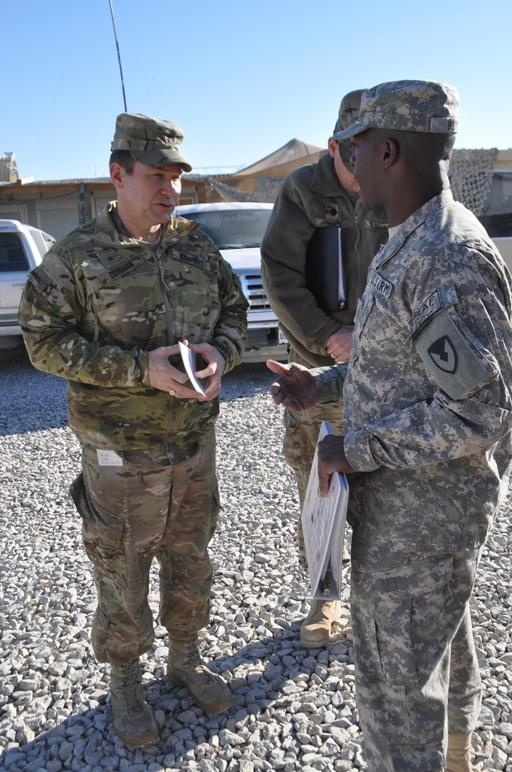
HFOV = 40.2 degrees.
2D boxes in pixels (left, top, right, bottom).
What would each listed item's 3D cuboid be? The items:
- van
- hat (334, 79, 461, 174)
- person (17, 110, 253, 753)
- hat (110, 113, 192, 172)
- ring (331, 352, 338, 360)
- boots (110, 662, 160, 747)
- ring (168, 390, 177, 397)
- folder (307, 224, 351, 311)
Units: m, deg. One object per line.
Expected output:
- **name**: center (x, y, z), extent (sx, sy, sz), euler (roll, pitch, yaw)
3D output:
- **van**: center (-0.122, -1.122, 7.297), extent (1.690, 1.507, 2.591), euler (-4, 12, -7)
- **hat**: center (0.269, -0.539, 1.425), extent (0.255, 0.143, 0.218), euler (2, 14, 23)
- **person**: center (-0.278, 0.189, 2.190), extent (0.794, 1.889, 0.711), euler (-11, 17, -43)
- **hat**: center (-0.296, -0.718, 2.045), extent (0.262, 0.124, 0.185), euler (20, 23, 29)
- **ring**: center (0.289, -0.105, 2.562), extent (0.022, 0.021, 0.006), euler (35, 76, 19)
- **boots**: center (-0.454, 1.001, 2.206), extent (0.122, 0.200, 0.317), euler (-2, 3, -19)
- **ring**: center (-0.236, 0.023, 1.969), extent (0.025, 0.029, 0.008), euler (12, 28, 17)
- **folder**: center (0.263, -0.438, 2.599), extent (0.144, 0.307, 0.132), euler (-5, 13, -18)
